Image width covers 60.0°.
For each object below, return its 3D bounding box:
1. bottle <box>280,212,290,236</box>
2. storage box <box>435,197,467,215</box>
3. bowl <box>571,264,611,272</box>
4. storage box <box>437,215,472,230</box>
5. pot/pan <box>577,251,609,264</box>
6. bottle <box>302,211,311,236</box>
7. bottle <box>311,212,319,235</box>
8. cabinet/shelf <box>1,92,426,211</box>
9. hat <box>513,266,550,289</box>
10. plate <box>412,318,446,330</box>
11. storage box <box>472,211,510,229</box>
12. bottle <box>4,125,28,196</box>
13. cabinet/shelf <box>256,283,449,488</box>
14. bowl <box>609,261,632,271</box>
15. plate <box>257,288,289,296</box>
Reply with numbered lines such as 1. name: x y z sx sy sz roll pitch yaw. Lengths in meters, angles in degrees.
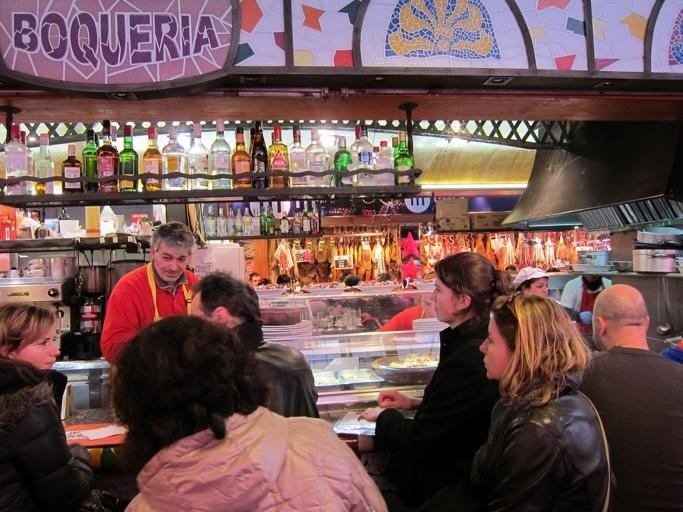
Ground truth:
1. bottle: -0.863 -0.486 9.058 0.116 0.329 0.277 -4 0 0
2. storage box: 2.046 -0.907 10.969 0.394 0.235 0.381 0 3 6
3. bowl: 2.793 0.131 6.589 0.401 0.091 0.306 -4 0 23
4. storage box: 2.098 -0.598 11.001 0.599 0.285 0.094 -4 0 -7
5. pot/pan: 2.781 0.002 6.492 0.188 0.109 0.190 1 0 38
6. bottle: -0.541 -0.525 9.273 0.144 0.328 0.220 -4 0 -3
7. bottle: -0.416 -0.514 9.284 0.122 0.365 0.461 -4 0 -3
8. cabinet/shelf: -0.785 -0.683 3.810 2.749 0.715 0.595 -4 0 -4
9. hat: 1.999 0.232 6.219 0.284 0.197 0.419 1 -12 -44
10. plate: 0.636 0.514 4.360 0.169 0.066 0.162 3 -7 -19
11. storage box: 2.811 -0.659 11.033 0.763 0.330 0.291 -4 0 -21
12. bottle: -2.057 -0.607 3.731 0.142 0.442 0.279 -4 0 -27
13. cabinet/shelf: 0.098 0.718 3.576 1.217 0.297 1.230 -3 41 7
14. bowl: 3.099 0.117 6.543 0.115 0.116 0.296 -4 0 -9
15. plate: -0.951 0.496 8.068 0.259 0.063 0.273 1 -3 -43
